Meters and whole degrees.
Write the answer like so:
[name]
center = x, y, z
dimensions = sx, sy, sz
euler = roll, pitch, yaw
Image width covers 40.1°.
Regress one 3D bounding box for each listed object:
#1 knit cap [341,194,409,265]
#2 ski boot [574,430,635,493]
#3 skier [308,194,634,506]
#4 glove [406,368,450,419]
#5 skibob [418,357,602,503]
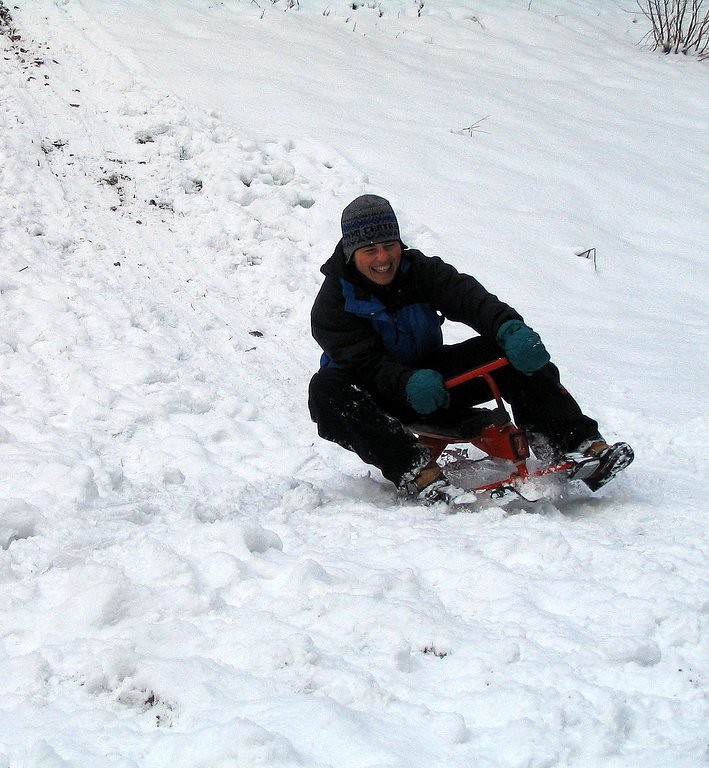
[knit cap]
center = 0.079, -0.785, 4.889
dimensions = 0.286, 0.319, 0.338
euler = 5, 27, -8
[ski boot]
center = 1.147, 0.397, 4.665
dimensions = 0.199, 0.342, 0.204
euler = -11, 36, -31
[skier]
center = 0.309, -0.195, 4.865
dimensions = 1.887, 1.538, 1.502
euler = -3, 30, -10
[glove]
center = 0.339, 0.036, 4.602
dimensions = 0.231, 0.219, 0.089
euler = -27, 12, 7
[skibob]
center = 0.610, 0.257, 4.859
dimensions = 0.550, 0.411, 1.003
euler = -29, 30, -37
